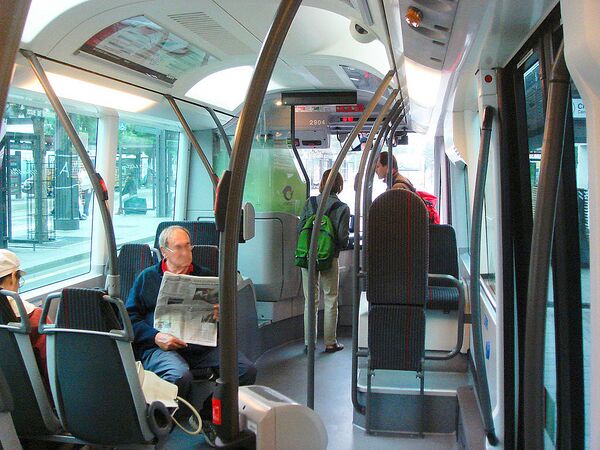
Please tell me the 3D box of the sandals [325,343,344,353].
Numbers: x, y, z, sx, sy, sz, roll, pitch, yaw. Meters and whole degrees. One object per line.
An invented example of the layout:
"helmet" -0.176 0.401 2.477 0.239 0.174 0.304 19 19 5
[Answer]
"sandals" 0.449 1.574 5.978 0.101 0.113 0.257 3 4 44

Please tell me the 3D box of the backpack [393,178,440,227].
"backpack" 1.463 -0.328 5.500 0.659 0.296 0.681 6 2 16

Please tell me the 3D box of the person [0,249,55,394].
"person" -1.823 0.631 3.021 0.276 0.955 0.612 -1 -2 -32

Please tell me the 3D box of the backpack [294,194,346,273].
"backpack" 0.221 0.078 5.540 0.595 0.817 0.447 9 18 10

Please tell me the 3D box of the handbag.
"handbag" -0.901 1.230 3.175 0.592 0.143 0.354 41 2 -20
